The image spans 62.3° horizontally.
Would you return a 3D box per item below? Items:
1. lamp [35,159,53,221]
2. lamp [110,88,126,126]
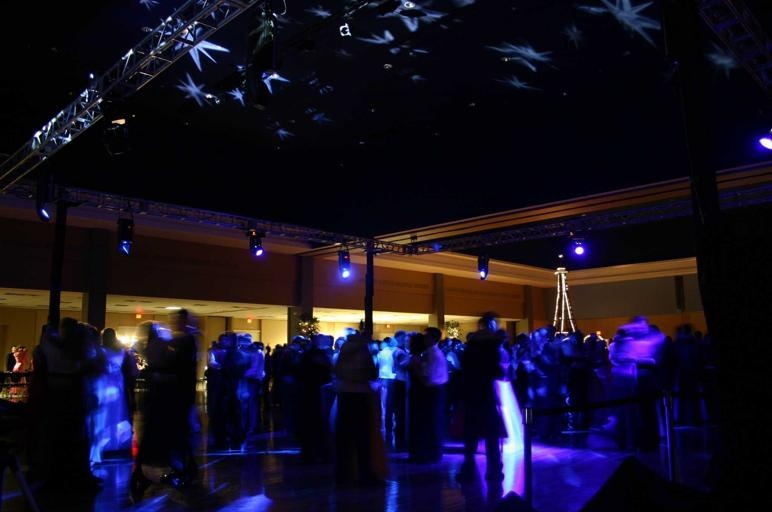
[{"bbox_3d":[-6.574,-1.202,12.362,0.274,1.017,0.474,-1,1,-28],"label":"lamp"},{"bbox_3d":[-4.149,-2.267,9.849,0.283,0.502,0.225,0,1,-13],"label":"lamp"}]
